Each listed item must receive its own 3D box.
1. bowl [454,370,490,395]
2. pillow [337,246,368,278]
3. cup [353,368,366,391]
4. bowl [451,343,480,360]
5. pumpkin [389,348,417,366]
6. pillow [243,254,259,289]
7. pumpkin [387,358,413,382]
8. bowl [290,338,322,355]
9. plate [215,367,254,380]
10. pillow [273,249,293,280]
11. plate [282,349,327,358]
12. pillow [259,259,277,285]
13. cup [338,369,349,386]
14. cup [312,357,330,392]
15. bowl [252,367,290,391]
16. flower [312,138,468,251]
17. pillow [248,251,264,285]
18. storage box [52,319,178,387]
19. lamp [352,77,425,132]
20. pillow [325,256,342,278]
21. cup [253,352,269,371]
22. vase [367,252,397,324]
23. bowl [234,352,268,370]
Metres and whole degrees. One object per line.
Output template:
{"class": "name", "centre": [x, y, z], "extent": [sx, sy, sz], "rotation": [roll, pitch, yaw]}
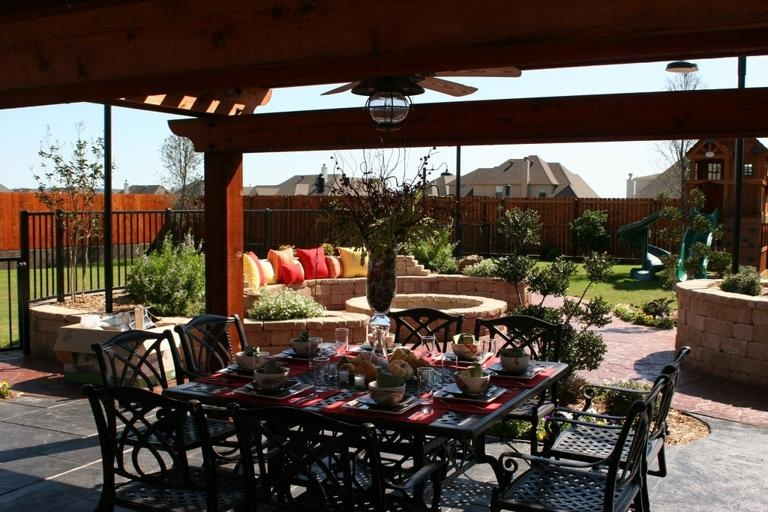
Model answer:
{"class": "bowl", "centre": [0.603, 0.881, 3.890], "extent": [0.228, 0.165, 0.255], "rotation": [1, -14, 7]}
{"class": "pillow", "centre": [-0.607, 0.115, 10.215], "extent": [0.629, 0.399, 0.220], "rotation": [-10, -29, -14]}
{"class": "cup", "centre": [-0.176, 0.897, 4.094], "extent": [0.105, 0.143, 0.103], "rotation": [-2, 3, 0]}
{"class": "bowl", "centre": [0.669, 0.782, 4.625], "extent": [0.167, 0.080, 0.159], "rotation": [-1, 1, 0]}
{"class": "pumpkin", "centre": [0.147, 0.782, 4.367], "extent": [0.137, 0.114, 0.134], "rotation": [5, -3, 33]}
{"class": "pillow", "centre": [-2.377, 0.288, 9.961], "extent": [0.244, 0.430, 0.653], "rotation": [1, 2, -1]}
{"class": "pumpkin", "centre": [0.129, 0.823, 4.085], "extent": [0.162, 0.134, 0.149], "rotation": [18, 6, -13]}
{"class": "bowl", "centre": [-0.639, 0.745, 4.612], "extent": [0.241, 0.108, 0.224], "rotation": [0, -4, 0]}
{"class": "plate", "centre": [-1.129, 0.886, 4.275], "extent": [0.338, 0.101, 0.149], "rotation": [-10, -19, 42]}
{"class": "pillow", "centre": [-2.029, 0.193, 11.193], "extent": [0.326, 0.540, 0.596], "rotation": [2, 7, 35]}
{"class": "plate", "centre": [-0.707, 0.832, 4.753], "extent": [0.209, 0.026, 0.198], "rotation": [0, 0, 25]}
{"class": "pillow", "centre": [-2.295, 0.310, 11.088], "extent": [0.199, 0.421, 0.460], "rotation": [-17, -12, 31]}
{"class": "cup", "centre": [-0.302, 0.891, 4.131], "extent": [0.106, 0.105, 0.102], "rotation": [0, 6, 0]}
{"class": "cup", "centre": [-0.477, 0.893, 4.301], "extent": [0.175, 0.242, 0.166], "rotation": [-1, 1, 0]}
{"class": "bowl", "centre": [-0.789, 0.843, 3.877], "extent": [0.183, 0.093, 0.178], "rotation": [0, 0, 0]}
{"class": "flower", "centre": [-0.065, -0.536, 5.170], "extent": [1.324, 0.863, 1.133], "rotation": [5, 12, 25]}
{"class": "pillow", "centre": [-2.435, 0.239, 10.646], "extent": [0.246, 0.506, 0.622], "rotation": [-2, 14, 1]}
{"class": "storage box", "centre": [-3.442, 1.179, 7.346], "extent": [1.489, 0.652, 1.389], "rotation": [-1, -3, 19]}
{"class": "lamp", "centre": [0.043, -1.231, 4.809], "extent": [0.493, 0.413, 0.473], "rotation": [-4, 5, -39]}
{"class": "pillow", "centre": [-1.097, 0.243, 12.017], "extent": [0.180, 0.317, 0.489], "rotation": [3, 5, 18]}
{"class": "cup", "centre": [-0.920, 0.789, 4.174], "extent": [0.111, 0.157, 0.169], "rotation": [1, 0, -10]}
{"class": "vase", "centre": [-0.028, 0.219, 4.773], "extent": [0.225, 0.538, 0.241], "rotation": [4, -15, -2]}
{"class": "bowl", "centre": [-1.012, 0.793, 4.246], "extent": [0.190, 0.074, 0.177], "rotation": [0, -4, 0]}
